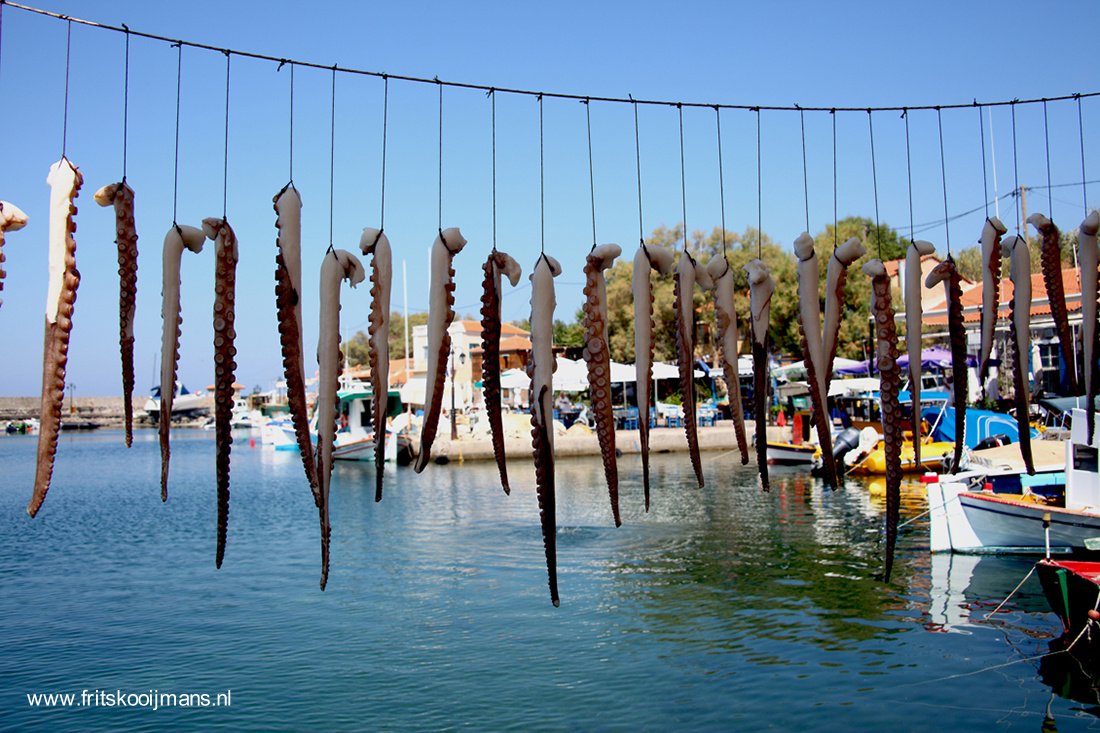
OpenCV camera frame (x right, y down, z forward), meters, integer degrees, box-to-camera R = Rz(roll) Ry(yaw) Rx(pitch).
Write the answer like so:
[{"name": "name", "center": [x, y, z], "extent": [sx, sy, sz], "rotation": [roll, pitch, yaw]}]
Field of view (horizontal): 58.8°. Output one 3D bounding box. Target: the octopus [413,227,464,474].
[{"name": "octopus", "center": [-1.290, -0.156, 11.365], "extent": [0.612, 2.879, 1.067], "rotation": [-2, 3, -7]}]

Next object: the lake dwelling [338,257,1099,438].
[{"name": "lake dwelling", "center": [5.436, -0.189, 25.297], "extent": [12.932, 3.325, 8.613], "rotation": [-2, 1, 1]}]
